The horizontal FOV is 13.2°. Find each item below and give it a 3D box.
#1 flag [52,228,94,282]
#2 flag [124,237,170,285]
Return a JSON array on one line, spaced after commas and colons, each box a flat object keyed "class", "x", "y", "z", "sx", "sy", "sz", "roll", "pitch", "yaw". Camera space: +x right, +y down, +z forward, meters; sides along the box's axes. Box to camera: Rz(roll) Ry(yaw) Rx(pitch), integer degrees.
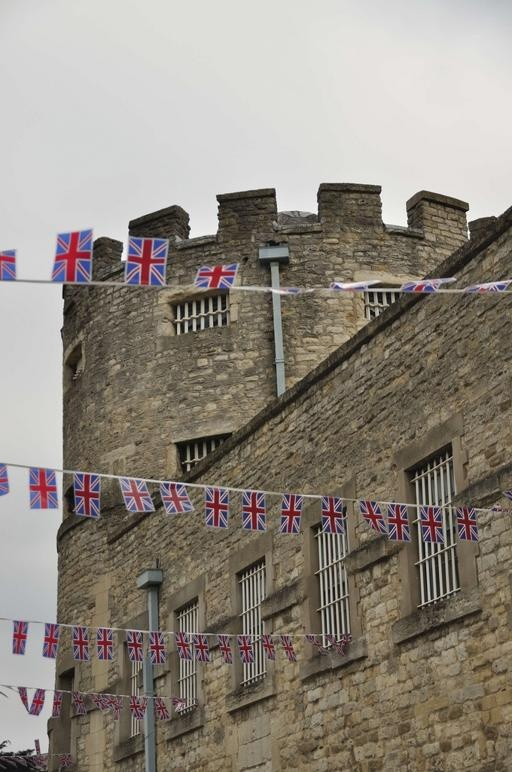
[{"class": "flag", "x": -1.521, "y": -0.993, "z": 17.699, "sx": 0.317, "sy": 0.467, "sz": 0.343, "roll": -1, "pitch": -15, "yaw": -8}, {"class": "flag", "x": -0.924, "y": -1.006, "z": 17.865, "sx": 0.354, "sy": 0.468, "sz": 0.016, "roll": 4, "pitch": -33, "yaw": -2}]
